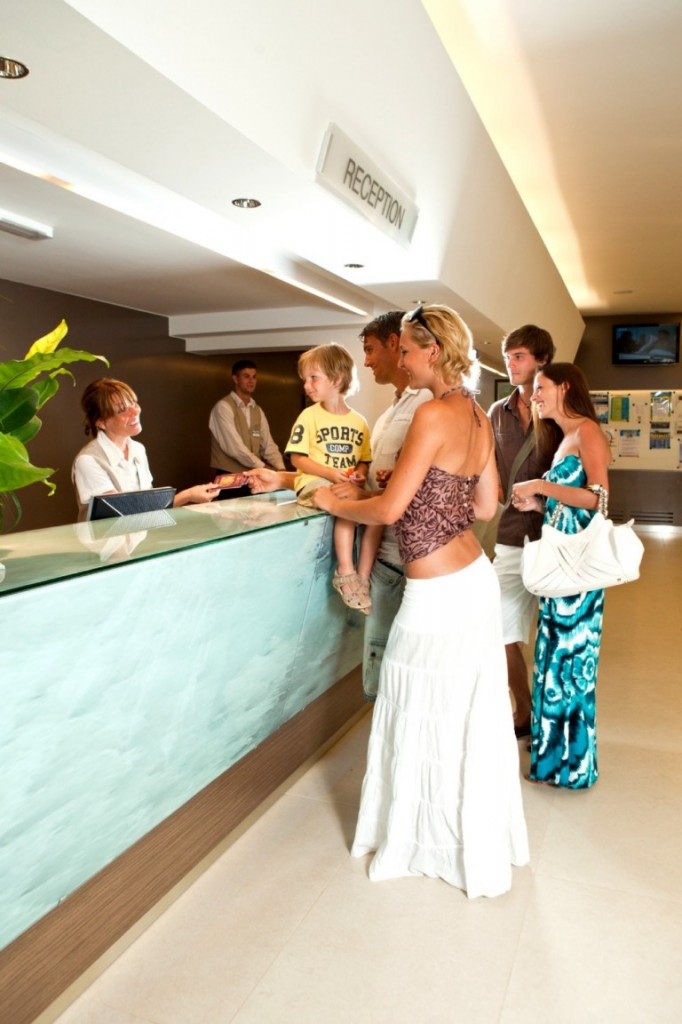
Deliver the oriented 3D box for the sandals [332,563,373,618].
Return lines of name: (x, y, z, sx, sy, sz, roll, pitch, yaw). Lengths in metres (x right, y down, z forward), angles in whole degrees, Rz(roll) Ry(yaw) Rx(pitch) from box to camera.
sandals: (0.037, 0.289, 2.224, 0.108, 0.182, 0.079, -30, 7, -21)

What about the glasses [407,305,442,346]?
glasses: (0.259, -0.512, 1.710, 0.035, 0.110, 0.096, -45, 37, -3)

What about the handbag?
handbag: (0.795, 0.111, 2.002, 0.408, 0.378, 0.152, -13, -14, 39)

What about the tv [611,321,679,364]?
tv: (5.043, -2.762, 9.898, 1.034, 0.756, 0.202, 1, -2, 11)

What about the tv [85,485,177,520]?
tv: (-0.593, -0.023, 1.738, 0.166, 0.098, 0.361, 1, -2, 6)

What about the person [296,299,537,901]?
person: (0.283, 0.371, 1.779, 0.533, 1.375, 0.374, 2, -2, -32)
